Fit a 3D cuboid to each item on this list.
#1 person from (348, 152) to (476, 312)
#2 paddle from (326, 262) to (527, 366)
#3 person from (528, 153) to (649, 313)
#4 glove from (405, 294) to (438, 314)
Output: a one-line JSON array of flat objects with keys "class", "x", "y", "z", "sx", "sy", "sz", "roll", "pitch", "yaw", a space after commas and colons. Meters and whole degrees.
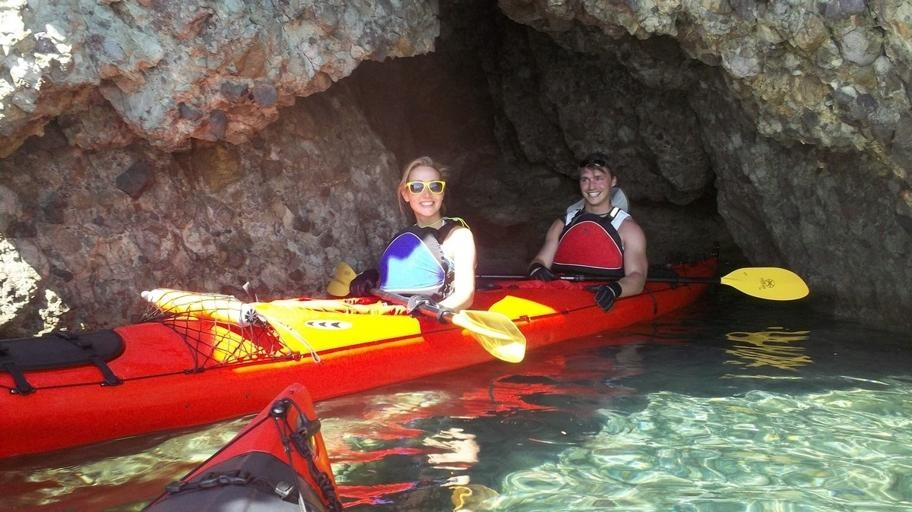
[{"class": "person", "x": -0.466, "y": -0.137, "z": 5.257, "sx": 1.263, "sy": 1.322, "sz": 1.086, "roll": 4, "pitch": 0, "yaw": -14}, {"class": "paddle", "x": -0.271, "y": 0.510, "z": 5.247, "sx": 2.149, "sy": 0.392, "sz": 0.345, "roll": 13, "pitch": 49, "yaw": 29}, {"class": "person", "x": 1.331, "y": -0.277, "z": 6.394, "sx": 1.162, "sy": 1.298, "sz": 1.166, "roll": -15, "pitch": 22, "yaw": -35}, {"class": "glove", "x": -0.288, "y": 0.380, "z": 5.071, "sx": 0.183, "sy": 0.048, "sz": 0.148, "roll": -9, "pitch": 35, "yaw": -27}]
